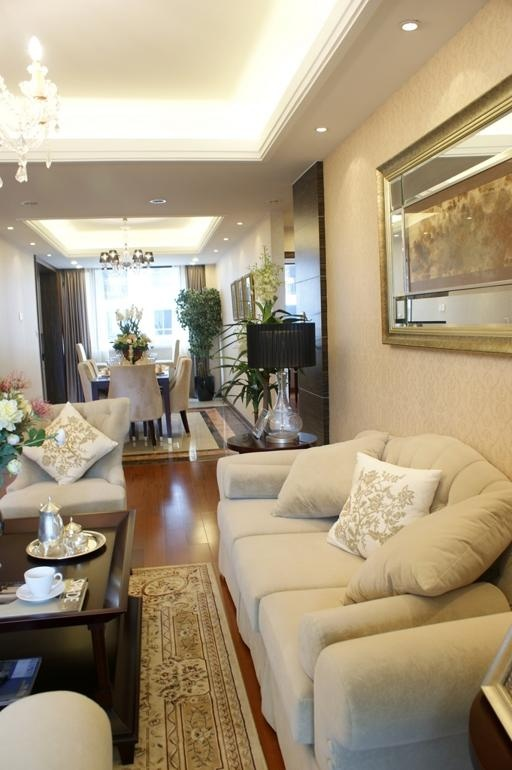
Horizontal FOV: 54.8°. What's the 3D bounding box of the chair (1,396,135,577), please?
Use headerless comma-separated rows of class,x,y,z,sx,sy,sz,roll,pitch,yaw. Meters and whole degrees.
chair,-1.056,0.517,2.905,0.695,0.942,0.811,-1,-2,-4

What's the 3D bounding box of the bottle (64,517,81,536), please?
bottle,-0.761,0.558,2.005,0.070,0.088,0.074,1,-2,0

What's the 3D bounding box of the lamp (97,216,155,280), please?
lamp,-2.143,-2.315,8.062,0.956,1.165,1.098,-1,-3,-11

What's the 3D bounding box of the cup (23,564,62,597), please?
cup,-0.663,0.589,1.521,0.094,0.068,0.082,4,7,4
